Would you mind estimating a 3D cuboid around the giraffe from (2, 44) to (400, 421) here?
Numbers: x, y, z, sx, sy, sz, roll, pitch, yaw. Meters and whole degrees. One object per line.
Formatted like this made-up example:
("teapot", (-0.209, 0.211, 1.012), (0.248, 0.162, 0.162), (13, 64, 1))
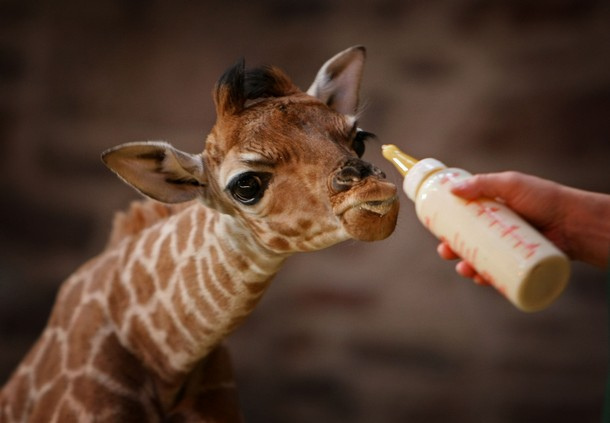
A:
("giraffe", (-0.251, 0.099, 1.466), (0.511, 0.705, 0.844), (14, -31, -36))
